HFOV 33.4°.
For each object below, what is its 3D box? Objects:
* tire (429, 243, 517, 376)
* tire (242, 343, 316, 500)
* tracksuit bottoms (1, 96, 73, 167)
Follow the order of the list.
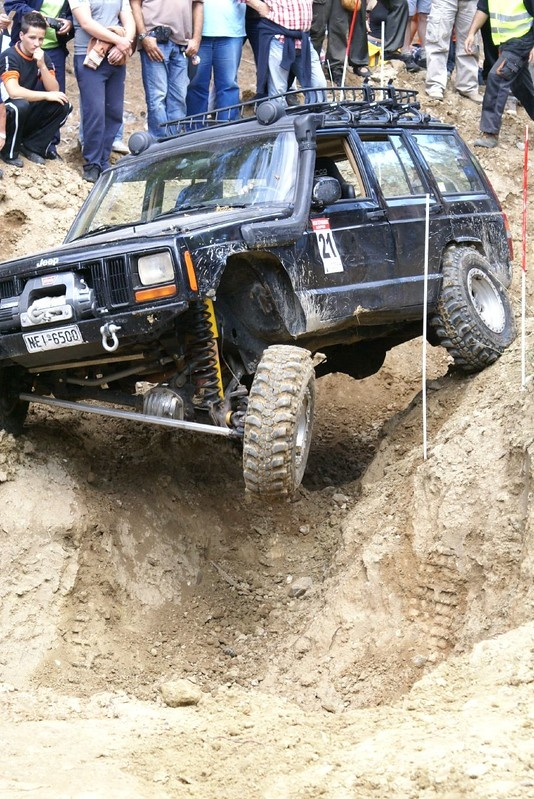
[{"bbox_3d":[1.543,-0.680,6.669,0.314,0.938,0.856,-27,5,24],"label":"tire"},{"bbox_3d":[0.094,0.132,5.085,0.294,0.890,0.937,8,12,11],"label":"tire"},{"bbox_3d":[-2.279,-2.591,8.564,0.644,0.486,0.549,-4,2,40],"label":"tracksuit bottoms"}]
